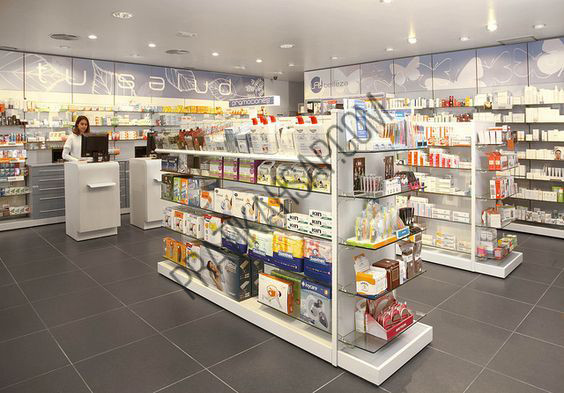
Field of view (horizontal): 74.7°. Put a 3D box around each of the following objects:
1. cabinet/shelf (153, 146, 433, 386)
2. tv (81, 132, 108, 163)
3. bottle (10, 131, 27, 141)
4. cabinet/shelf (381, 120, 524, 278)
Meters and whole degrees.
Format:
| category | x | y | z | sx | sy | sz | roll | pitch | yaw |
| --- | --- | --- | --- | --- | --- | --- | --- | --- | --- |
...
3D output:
| category | x | y | z | sx | sy | sz | roll | pitch | yaw |
| --- | --- | --- | --- | --- | --- | --- | --- | --- | --- |
| cabinet/shelf | 0.113 | 0.855 | 4.318 | 2.274 | 1.442 | 0.815 | 10 | 14 | 42 |
| tv | -3.736 | -0.978 | 7.382 | 0.534 | 0.606 | 0.210 | -9 | 28 | -39 |
| bottle | -6.083 | -1.362 | 8.549 | 0.226 | 0.188 | 0.384 | -4 | 14 | -16 |
| cabinet/shelf | 2.523 | 0.074 | 5.518 | 0.759 | 2.190 | 2.235 | -10 | 12 | -44 |
